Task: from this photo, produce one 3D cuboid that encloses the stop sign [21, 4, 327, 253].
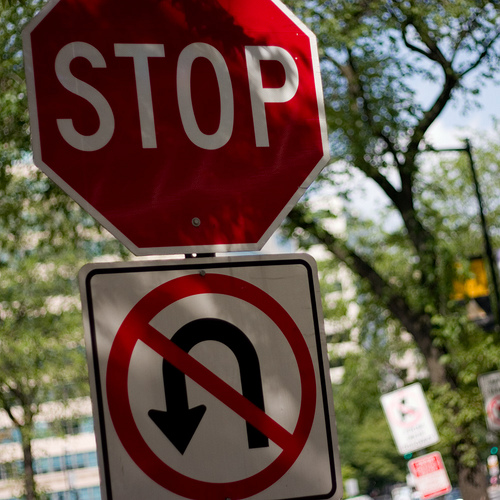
[{"bbox_3d":[-0.319,-0.568,4.319,1.350,0.160,1.200,-5,78,-6],"label":"stop sign"}]
